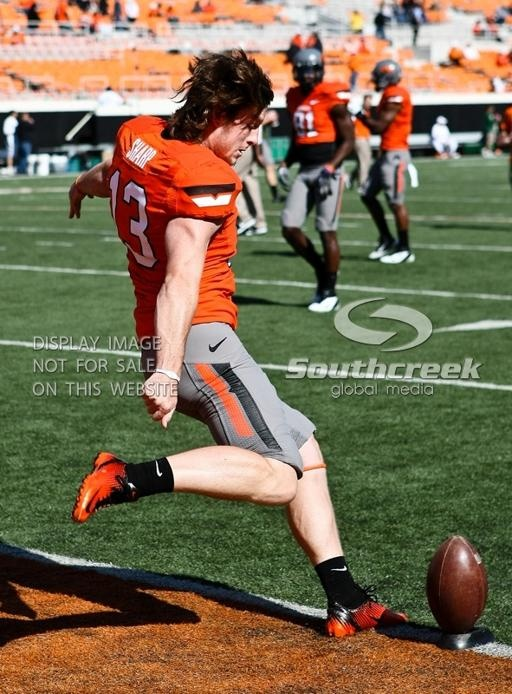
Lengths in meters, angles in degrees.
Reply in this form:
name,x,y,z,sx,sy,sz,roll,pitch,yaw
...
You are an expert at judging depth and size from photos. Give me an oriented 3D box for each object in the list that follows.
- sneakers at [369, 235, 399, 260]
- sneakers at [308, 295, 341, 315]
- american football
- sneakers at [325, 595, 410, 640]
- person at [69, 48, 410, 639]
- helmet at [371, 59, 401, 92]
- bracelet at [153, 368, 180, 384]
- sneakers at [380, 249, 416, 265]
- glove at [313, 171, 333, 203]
name,x,y,z,sx,sy,sz,roll,pitch,yaw
sneakers,1.562,-1.237,9.970,0.516,0.196,0.165,-31,15,-13
sneakers,0.584,-0.379,7.137,0.322,0.114,0.117,-8,10,-42
american football,0.556,0.672,2.211,0.159,0.274,0.129,1,2,-4
sneakers,0.346,0.787,2.356,0.266,0.093,0.088,-5,5,-20
person,-0.319,-0.027,2.410,1.052,1.495,1.024,11,19,34
helmet,1.292,-2.725,7.967,0.281,0.310,0.322,22,37,12
bracelet,-0.212,0.067,1.848,0.059,0.037,0.031,0,1,-13
sneakers,1.688,-1.096,9.660,0.487,0.158,0.144,0,3,-8
glove,0.567,-1.381,6.803,0.168,0.240,0.076,-1,-9,24
